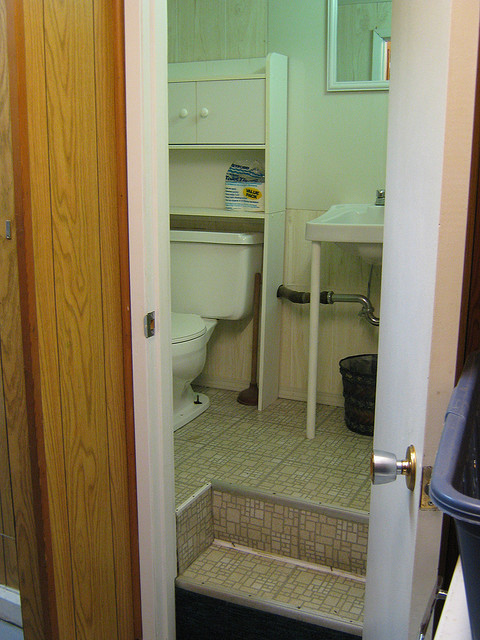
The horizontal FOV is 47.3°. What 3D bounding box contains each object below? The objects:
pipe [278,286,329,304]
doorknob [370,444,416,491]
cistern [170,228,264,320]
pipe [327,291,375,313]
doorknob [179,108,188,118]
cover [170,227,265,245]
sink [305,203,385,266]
[{"bbox_3d":[0.260,-0.110,2.503,0.292,0.093,0.066,11,-1,32],"label":"pipe"},{"bbox_3d":[0.178,0.168,0.638,0.044,0.067,0.042,2,3,16],"label":"doorknob"},{"bbox_3d":[-0.164,-0.264,2.721,0.467,0.453,0.321,4,19,11],"label":"cistern"},{"bbox_3d":[0.504,-0.084,2.456,0.168,0.086,0.047,10,19,22],"label":"pipe"},{"bbox_3d":[-0.256,-0.940,2.487,0.038,0.035,0.020,2,6,1],"label":"doorknob"},{"bbox_3d":[-0.115,-0.409,2.523,0.396,0.098,0.300,6,18,17],"label":"cover"},{"bbox_3d":[0.428,-0.362,2.233,0.290,0.246,0.404,3,7,13],"label":"sink"}]
